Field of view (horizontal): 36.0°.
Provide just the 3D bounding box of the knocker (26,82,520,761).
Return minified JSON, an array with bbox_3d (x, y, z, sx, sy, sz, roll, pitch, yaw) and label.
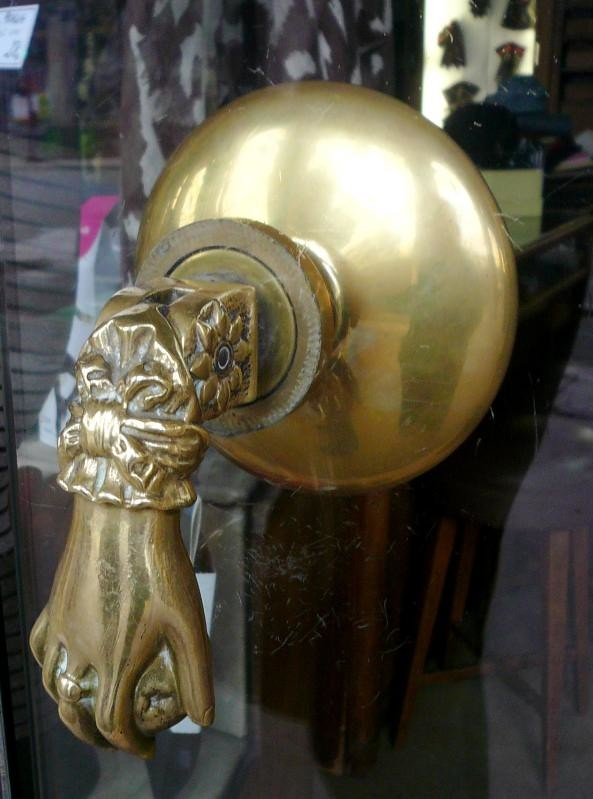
[{"bbox_3d":[-0.025,0.006,0.462,0.223,0.316,0.219,10,20,25],"label":"knocker"}]
